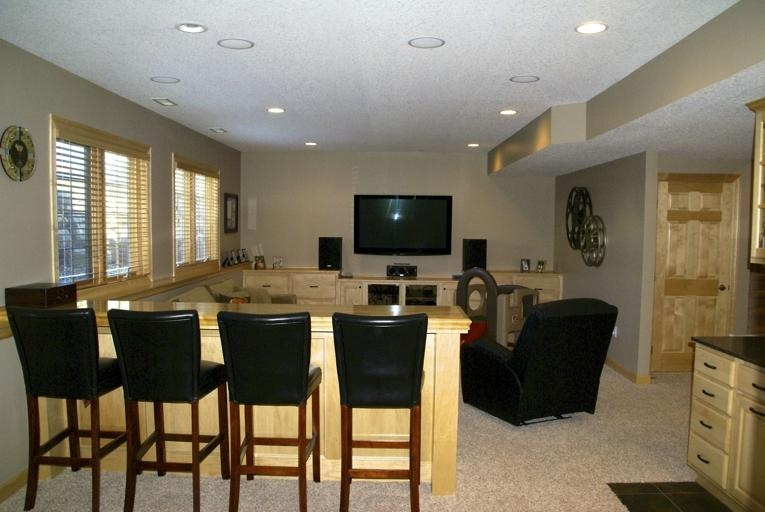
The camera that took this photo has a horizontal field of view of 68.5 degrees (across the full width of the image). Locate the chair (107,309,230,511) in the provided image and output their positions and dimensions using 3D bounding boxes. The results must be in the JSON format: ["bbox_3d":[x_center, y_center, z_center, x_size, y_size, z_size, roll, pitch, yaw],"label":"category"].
[{"bbox_3d":[-1.567,1.121,4.209,0.792,1.524,0.493,-2,5,-17],"label":"chair"}]

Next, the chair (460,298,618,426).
[{"bbox_3d":[1.608,1.031,5.853,1.228,1.341,1.364,0,0,-27],"label":"chair"}]

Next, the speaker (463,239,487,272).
[{"bbox_3d":[1.412,-0.045,8.793,0.381,0.461,0.228,0,4,18],"label":"speaker"}]

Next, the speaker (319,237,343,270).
[{"bbox_3d":[-0.807,-0.050,8.743,0.465,0.636,0.345,2,7,3],"label":"speaker"}]

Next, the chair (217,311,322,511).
[{"bbox_3d":[-0.817,1.149,4.234,0.681,1.553,0.546,-1,4,-2],"label":"chair"}]
